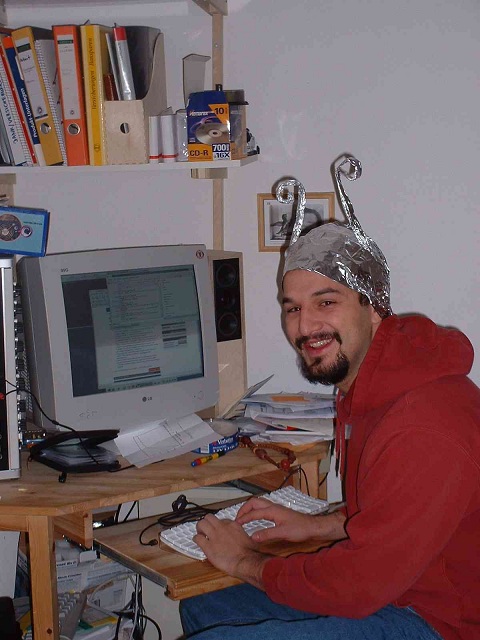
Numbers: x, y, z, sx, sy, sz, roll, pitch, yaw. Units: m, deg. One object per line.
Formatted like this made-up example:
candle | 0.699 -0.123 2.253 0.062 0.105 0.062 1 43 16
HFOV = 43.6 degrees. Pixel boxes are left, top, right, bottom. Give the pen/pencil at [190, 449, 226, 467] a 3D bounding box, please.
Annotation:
pen/pencil | -0.075 0.327 1.423 0.021 0.019 0.091 6 11 43

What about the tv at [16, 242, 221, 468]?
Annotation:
tv | -0.314 0.095 1.489 0.535 0.493 0.316 -11 0 -41

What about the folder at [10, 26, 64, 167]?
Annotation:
folder | -0.521 -0.588 1.582 0.080 0.282 0.308 0 7 -7

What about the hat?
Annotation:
hat | 0.235 -0.177 1.389 0.280 0.353 0.305 2 9 34
